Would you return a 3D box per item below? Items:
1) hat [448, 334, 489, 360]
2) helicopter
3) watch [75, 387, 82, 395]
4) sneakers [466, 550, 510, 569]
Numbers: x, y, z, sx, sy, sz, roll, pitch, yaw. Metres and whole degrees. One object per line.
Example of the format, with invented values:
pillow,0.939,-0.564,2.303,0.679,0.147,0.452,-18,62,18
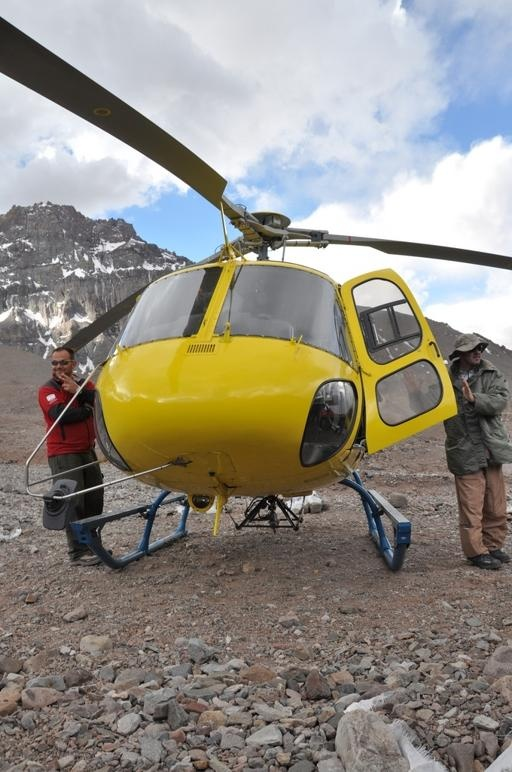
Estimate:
hat,1.748,-0.321,4.754,0.191,0.126,0.244,-28,-3,-44
helicopter,0.234,-0.130,4.035,2.902,1.592,3.416,-2,-8,20
watch,-1.273,0.028,4.090,0.015,0.044,0.044,36,26,-4
sneakers,1.843,1.377,4.507,0.226,0.084,0.149,-12,-3,17
